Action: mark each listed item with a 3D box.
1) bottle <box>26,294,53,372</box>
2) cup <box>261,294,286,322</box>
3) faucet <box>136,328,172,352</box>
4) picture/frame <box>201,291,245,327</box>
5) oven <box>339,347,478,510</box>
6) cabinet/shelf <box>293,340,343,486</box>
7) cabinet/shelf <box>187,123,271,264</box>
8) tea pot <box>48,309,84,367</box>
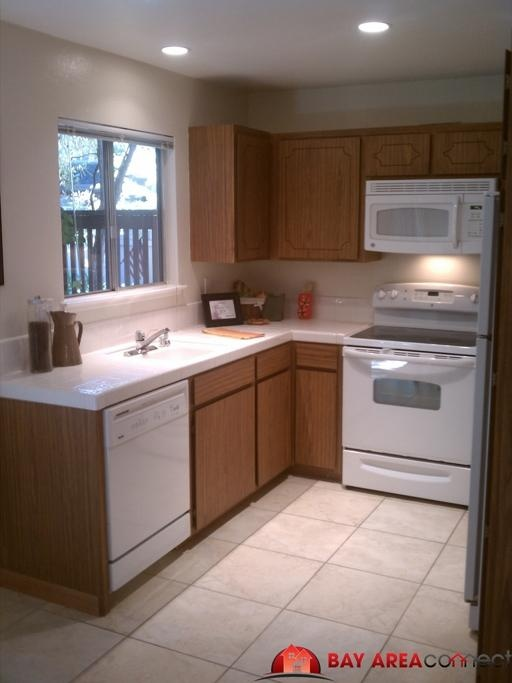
[{"bbox_3d":[-0.846,-0.024,2.066,0.086,0.289,0.133,-1,3,-23],"label":"bottle"},{"bbox_3d":[0.112,-0.230,3.607,0.145,0.183,0.085,1,3,2],"label":"cup"},{"bbox_3d":[-0.497,-0.017,2.664,0.076,0.105,0.230,10,17,33],"label":"faucet"},{"bbox_3d":[-0.226,-0.206,3.377,0.216,0.205,0.015,-2,-13,-41],"label":"picture/frame"},{"bbox_3d":[0.816,0.339,3.264,0.855,1.135,0.720,2,6,25],"label":"oven"},{"bbox_3d":[0.442,0.524,3.351,0.329,0.806,0.415,-12,-31,28],"label":"cabinet/shelf"},{"bbox_3d":[-0.182,-0.889,3.145,0.376,1.119,0.724,2,8,17],"label":"cabinet/shelf"},{"bbox_3d":[-0.781,-0.007,2.159,0.107,0.227,0.127,0,3,-16],"label":"tea pot"}]
